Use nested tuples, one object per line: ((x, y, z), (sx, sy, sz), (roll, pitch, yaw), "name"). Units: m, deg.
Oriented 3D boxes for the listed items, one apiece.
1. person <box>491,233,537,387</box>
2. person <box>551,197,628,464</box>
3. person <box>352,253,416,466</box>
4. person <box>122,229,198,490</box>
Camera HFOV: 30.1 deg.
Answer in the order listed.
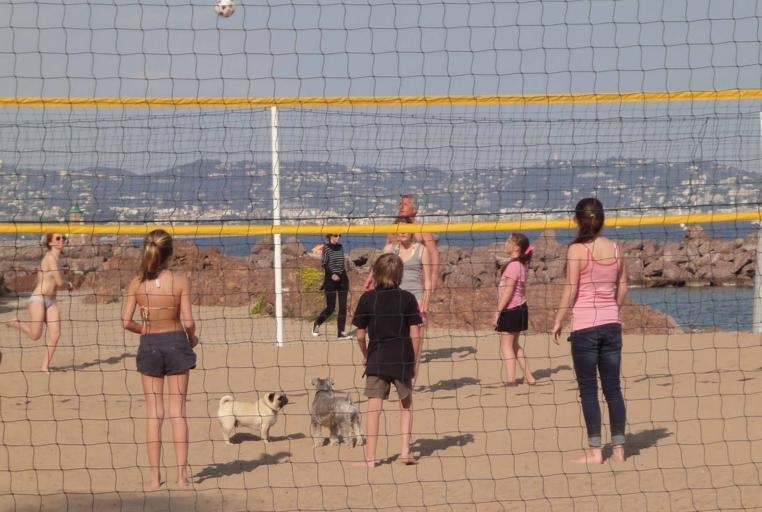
((1.846, 0.739, 19.950), (0.628, 2.152, 0.331), (0, 4, -22), "person")
((2.690, 0.944, 18.182), (0.901, 3.398, 0.391), (2, 3, 8), "person")
((0.054, 1.329, 18.128), (0.816, 2.724, 0.348), (1, 3, -1), "person")
((-2.790, 1.290, 17.913), (0.909, 3.292, 0.543), (1, 3, -7), "person")
